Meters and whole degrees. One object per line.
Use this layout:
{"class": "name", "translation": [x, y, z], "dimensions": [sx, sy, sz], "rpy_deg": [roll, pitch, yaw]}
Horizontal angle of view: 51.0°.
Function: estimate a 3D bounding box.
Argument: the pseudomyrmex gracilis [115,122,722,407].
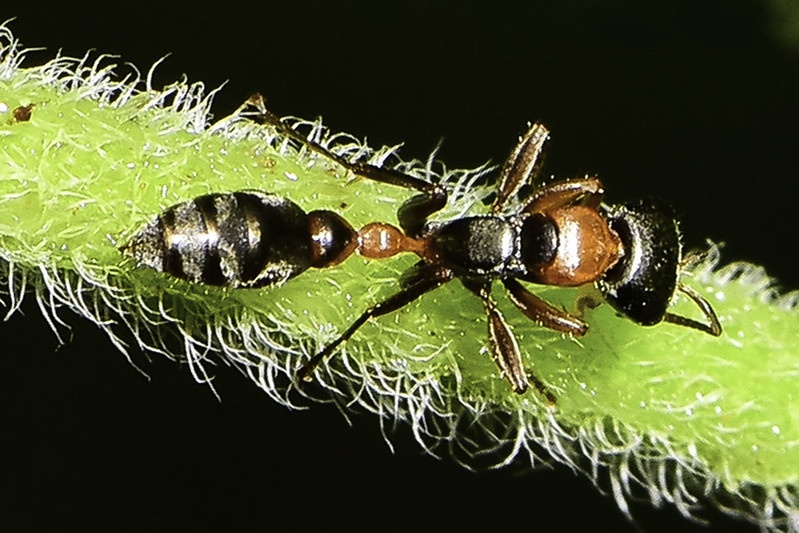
{"class": "pseudomyrmex gracilis", "translation": [0.173, -0.080, 4.415], "dimensions": [3.166, 0.521, 1.448], "rpy_deg": [4, 50, -9]}
